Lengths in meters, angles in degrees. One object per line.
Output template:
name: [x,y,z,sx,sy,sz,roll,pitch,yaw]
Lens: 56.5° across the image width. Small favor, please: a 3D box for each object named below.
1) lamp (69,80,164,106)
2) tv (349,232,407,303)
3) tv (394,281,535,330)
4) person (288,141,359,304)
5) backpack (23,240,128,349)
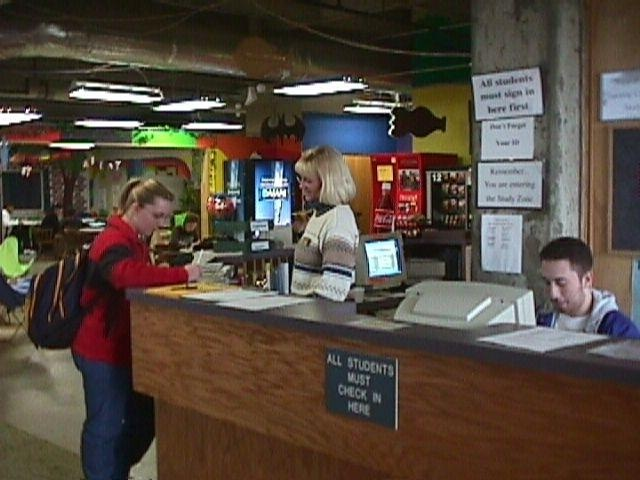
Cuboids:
lamp: [-3.557,-2.634,10.563,0.998,0.260,1.863,-2,6,20]
tv: [0.524,0.210,5.508,0.487,0.477,0.283,-3,-7,-30]
tv: [0.631,0.300,2.646,0.600,0.202,0.323,-2,6,21]
person: [-0.012,-0.096,3.676,0.449,0.966,0.515,-2,5,20]
backpack: [-1.531,0.345,3.841,0.463,0.655,0.226,32,9,25]
